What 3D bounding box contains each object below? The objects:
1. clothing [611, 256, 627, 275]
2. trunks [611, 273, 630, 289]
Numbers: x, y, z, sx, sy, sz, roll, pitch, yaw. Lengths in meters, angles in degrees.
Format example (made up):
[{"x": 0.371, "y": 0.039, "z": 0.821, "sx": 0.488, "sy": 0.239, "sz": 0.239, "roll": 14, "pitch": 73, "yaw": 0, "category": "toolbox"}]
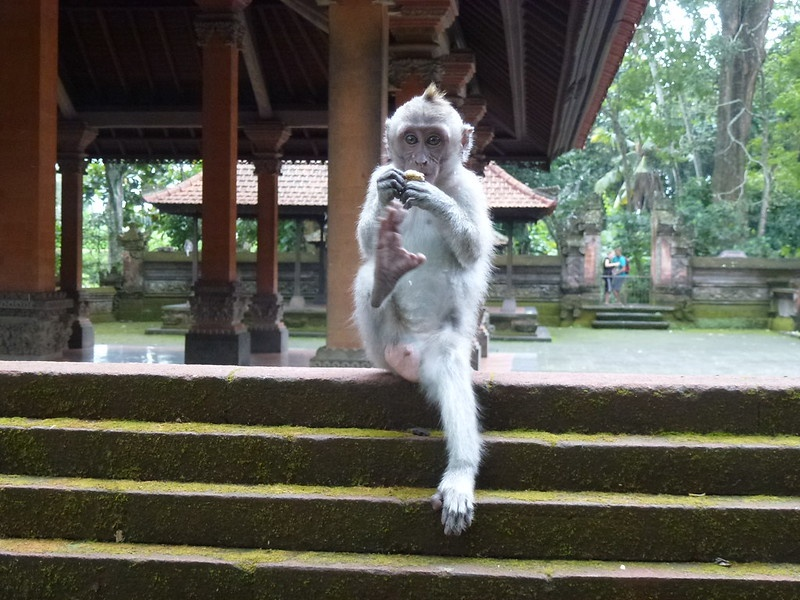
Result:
[{"x": 5.633, "y": -0.889, "z": 23.764, "sx": 0.473, "sy": 0.569, "sz": 0.304, "roll": 1, "pitch": -2, "yaw": -1, "category": "clothing"}, {"x": 5.584, "y": -0.466, "z": 23.410, "sx": 0.317, "sy": 0.580, "sz": 0.400, "roll": 4, "pitch": 7, "yaw": -4, "category": "trunks"}]
